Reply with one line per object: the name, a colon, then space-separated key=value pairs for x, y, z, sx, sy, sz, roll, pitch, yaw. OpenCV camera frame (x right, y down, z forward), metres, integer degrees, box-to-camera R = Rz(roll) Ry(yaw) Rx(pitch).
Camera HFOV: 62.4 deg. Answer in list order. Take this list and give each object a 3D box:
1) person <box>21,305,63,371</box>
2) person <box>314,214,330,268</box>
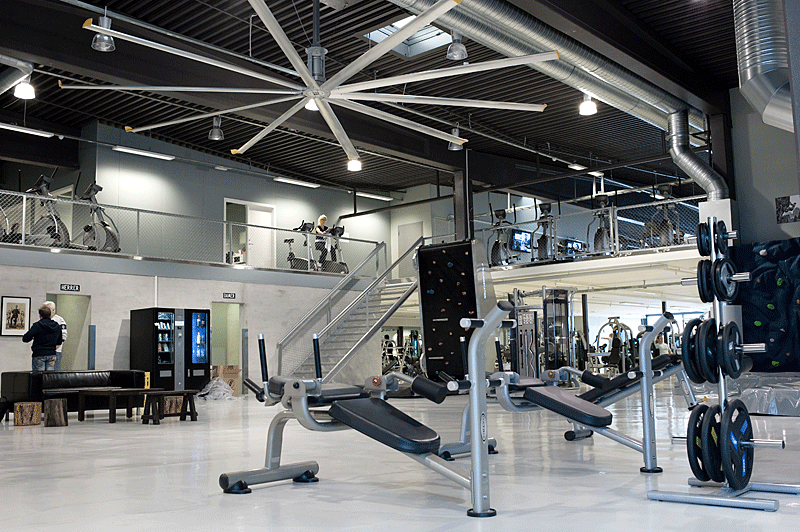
person: x=-6.165 y=1.200 z=11.416 sx=0.579 sy=1.177 sz=0.949 roll=2 pitch=-7 yaw=-27
person: x=-2.116 y=-0.745 z=17.906 sx=0.384 sy=1.397 sz=0.912 roll=-1 pitch=-7 yaw=-6
